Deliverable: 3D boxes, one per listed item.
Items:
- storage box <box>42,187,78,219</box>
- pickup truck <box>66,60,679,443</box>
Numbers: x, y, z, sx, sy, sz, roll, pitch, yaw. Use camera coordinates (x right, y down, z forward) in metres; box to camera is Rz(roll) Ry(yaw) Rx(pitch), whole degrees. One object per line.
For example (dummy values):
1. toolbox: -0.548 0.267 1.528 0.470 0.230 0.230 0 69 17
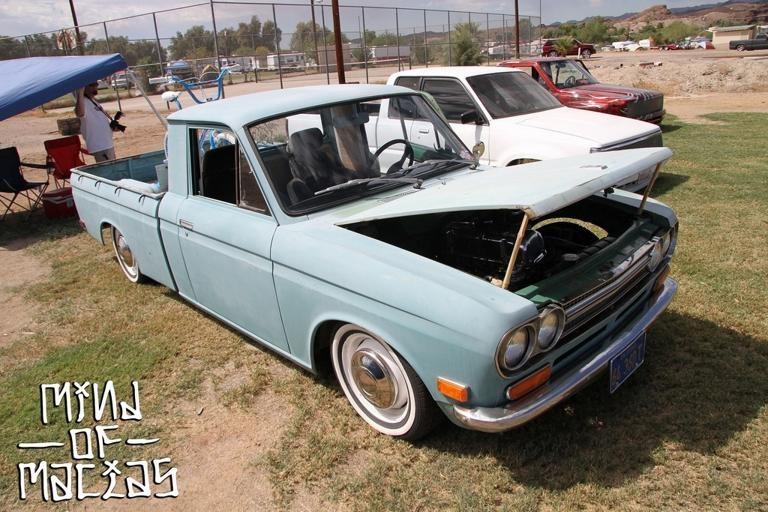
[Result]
1. storage box: -6.145 -0.945 8.954 0.699 0.445 0.470 -5 9 -20
2. pickup truck: -0.593 -0.232 4.687 5.416 1.817 2.659 23 38 38
